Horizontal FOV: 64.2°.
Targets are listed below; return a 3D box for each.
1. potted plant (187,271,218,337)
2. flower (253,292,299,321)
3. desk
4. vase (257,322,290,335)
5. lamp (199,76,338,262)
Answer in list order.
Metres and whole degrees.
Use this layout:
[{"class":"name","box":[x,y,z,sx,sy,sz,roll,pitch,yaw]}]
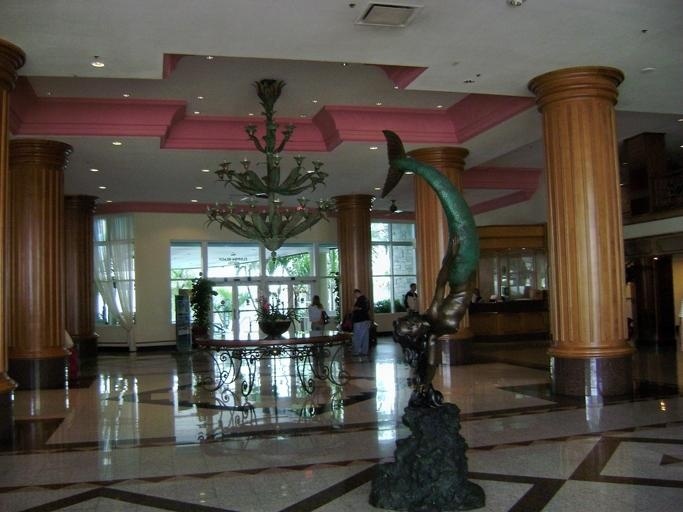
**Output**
[{"class":"potted plant","box":[-4.142,1.482,16.197,0.782,1.747,1.039,-3,-5,-11]},{"class":"flower","box":[-1.171,0.870,8.788,0.629,0.243,0.671,1,4,-29]},{"class":"desk","box":[-1.238,1.830,9.739,2.709,0.693,2.440,1,-2,-29]},{"class":"vase","box":[-1.077,1.121,8.532,0.335,0.134,0.306,-1,-3,11]},{"class":"lamp","box":[-1.104,-1.329,8.263,2.210,2.443,1.870,-5,11,-30]}]
